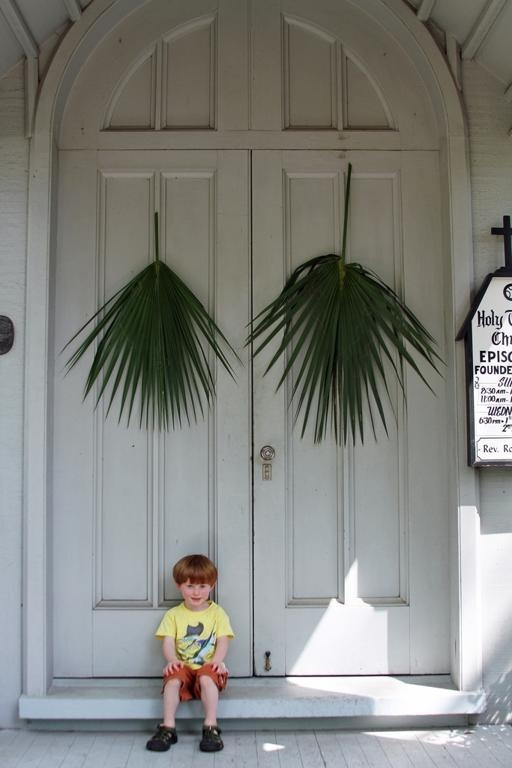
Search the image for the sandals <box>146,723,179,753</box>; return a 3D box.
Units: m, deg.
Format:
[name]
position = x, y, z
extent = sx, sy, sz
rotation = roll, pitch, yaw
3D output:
[sandals]
position = -0.293, 1.080, 2.170
extent = 0.048, 0.068, 0.115
rotation = -2, -15, 13
